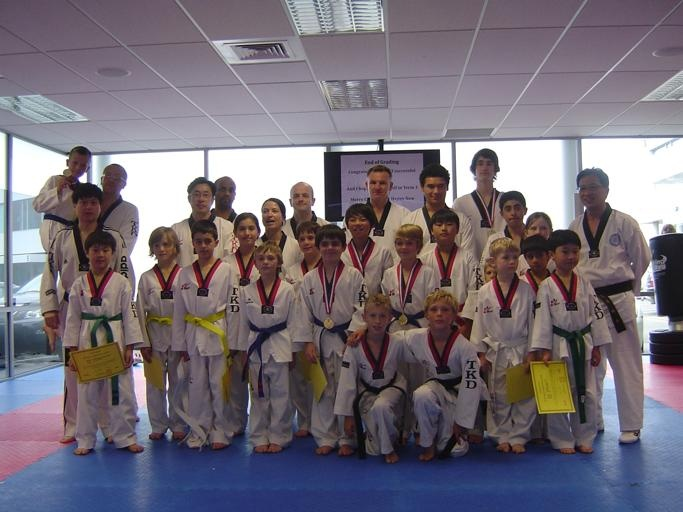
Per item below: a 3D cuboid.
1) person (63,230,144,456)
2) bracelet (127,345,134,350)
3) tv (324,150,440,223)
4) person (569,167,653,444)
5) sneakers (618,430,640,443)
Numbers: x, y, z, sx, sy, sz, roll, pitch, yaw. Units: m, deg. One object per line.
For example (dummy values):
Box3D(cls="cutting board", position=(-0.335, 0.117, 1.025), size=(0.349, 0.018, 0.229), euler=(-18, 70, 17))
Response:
Box3D(cls="person", position=(-2.369, 0.824, 5.882), size=(0.754, 2.118, 0.746), euler=(-3, 9, -11))
Box3D(cls="bracelet", position=(-2.094, 0.908, 5.902), size=(0.044, 0.048, 0.047), euler=(-7, -4, 21))
Box3D(cls="tv", position=(0.587, -1.150, 9.694), size=(1.736, 1.140, 0.319), euler=(-2, 9, -4))
Box3D(cls="person", position=(2.782, 0.442, 5.983), size=(0.572, 2.634, 0.856), euler=(-5, 10, -24))
Box3D(cls="sneakers", position=(2.803, 1.756, 5.778), size=(0.087, 0.109, 0.241), euler=(-14, -16, 43))
